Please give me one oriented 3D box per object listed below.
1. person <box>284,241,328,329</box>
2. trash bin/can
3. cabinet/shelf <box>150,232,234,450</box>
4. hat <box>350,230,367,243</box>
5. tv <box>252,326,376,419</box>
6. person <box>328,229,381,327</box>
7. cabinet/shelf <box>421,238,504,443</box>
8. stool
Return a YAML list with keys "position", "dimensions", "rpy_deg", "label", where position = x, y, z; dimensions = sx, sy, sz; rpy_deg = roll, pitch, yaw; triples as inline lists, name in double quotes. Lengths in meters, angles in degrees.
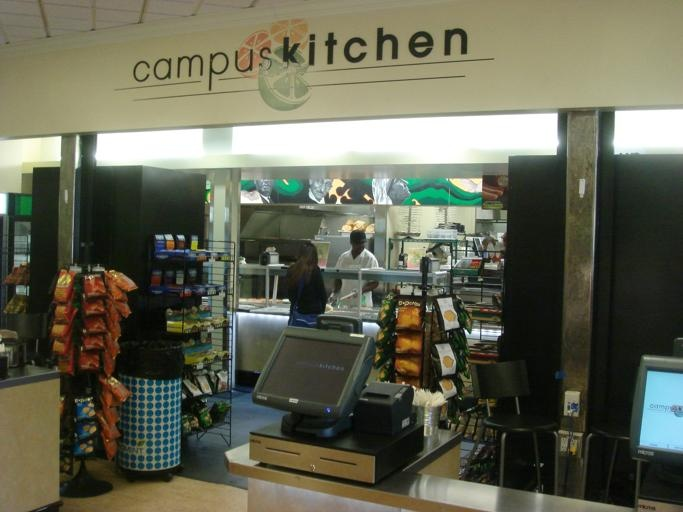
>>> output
- position: [-0.421, 0.597, 7.057]
  dimensions: [0.451, 1.527, 0.458]
  rpy_deg: [8, 23, 13]
  label: "person"
- position: [-1.606, 1.291, 5.016]
  dimensions: [0.535, 1.067, 0.264]
  rpy_deg: [0, 4, -15]
  label: "trash bin/can"
- position: [-1.318, 0.721, 5.866]
  dimensions: [0.637, 1.409, 0.395]
  rpy_deg: [0, -1, 7]
  label: "cabinet/shelf"
- position: [0.212, -0.259, 7.820]
  dimensions: [0.130, 0.167, 0.167]
  rpy_deg: [3, 13, -3]
  label: "hat"
- position: [-0.147, 0.578, 2.982]
  dimensions: [0.568, 0.399, 0.324]
  rpy_deg: [1, 2, 36]
  label: "tv"
- position: [0.175, 0.184, 7.857]
  dimensions: [0.595, 1.060, 1.117]
  rpy_deg: [1, 5, -1]
  label: "person"
- position: [1.061, 0.744, 5.463]
  dimensions: [1.128, 1.689, 0.518]
  rpy_deg: [-3, -7, 29]
  label: "cabinet/shelf"
- position: [1.930, 1.516, 4.379]
  dimensions: [0.284, 0.611, 0.459]
  rpy_deg: [3, 5, 26]
  label: "stool"
